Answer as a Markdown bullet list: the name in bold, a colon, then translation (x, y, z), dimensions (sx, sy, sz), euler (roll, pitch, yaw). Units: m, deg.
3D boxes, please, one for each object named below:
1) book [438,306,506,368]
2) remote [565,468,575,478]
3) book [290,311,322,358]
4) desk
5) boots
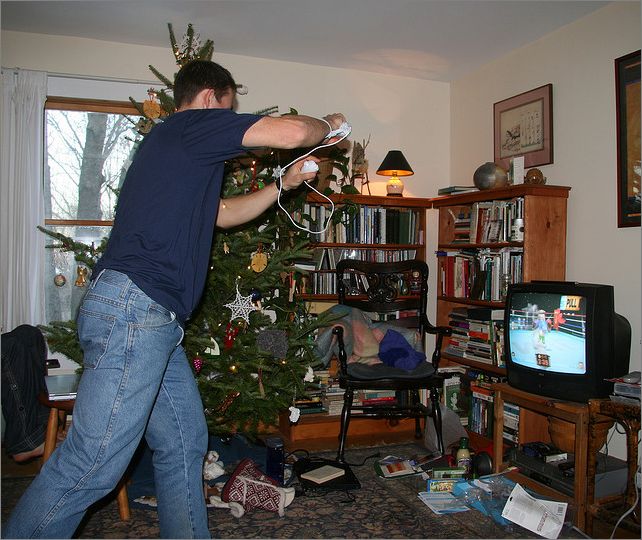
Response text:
- **book**: translation (1.072, 0.457, 3.632), dimensions (0.305, 0.277, 0.424), euler (2, 2, -31)
- **remote**: translation (1.258, 1.034, 2.642), dimensions (0.037, 0.018, 0.052), euler (-2, -4, 37)
- **book**: translation (-0.106, 0.404, 3.175), dimensions (0.105, 0.267, 0.285), euler (-7, 3, 35)
- **desk**: translation (1.198, 0.997, 2.690), dimensions (0.338, 0.688, 0.775), euler (0, 1, -22)
- **boots**: translation (-0.408, 1.170, 2.738), dimensions (0.526, 0.207, 0.162), euler (-10, 0, 6)
